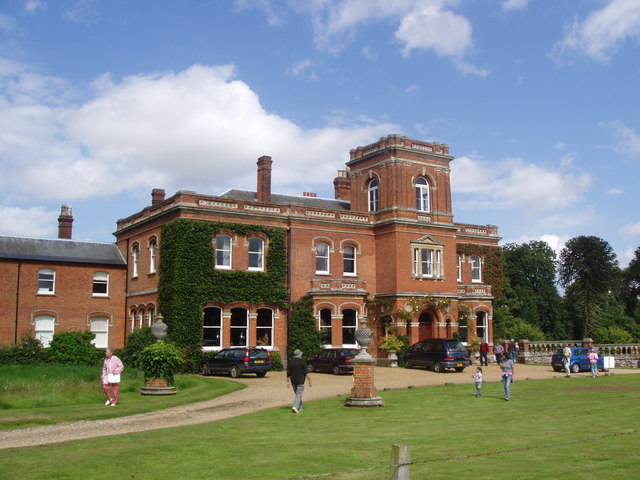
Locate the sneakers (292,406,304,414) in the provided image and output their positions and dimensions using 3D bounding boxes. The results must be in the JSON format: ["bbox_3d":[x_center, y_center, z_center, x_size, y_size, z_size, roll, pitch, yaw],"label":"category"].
[{"bbox_3d":[-0.817,6.130,26.463,0.201,0.235,0.570,1,-16,-9],"label":"sneakers"}]

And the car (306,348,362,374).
[{"bbox_3d":[0.992,7.018,42.612,1.640,1.650,3.615,4,-14,-26],"label":"car"}]

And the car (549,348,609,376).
[{"bbox_3d":[15.068,7.120,42.990,2.538,1.015,1.417,-1,-2,-16],"label":"car"}]

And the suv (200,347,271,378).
[{"bbox_3d":[-4.814,6.998,41.502,1.636,1.632,4.803,9,-16,-40],"label":"suv"}]

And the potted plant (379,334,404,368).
[{"bbox_3d":[4.574,7.163,48.605,2.014,2.064,1.595,4,-10,5],"label":"potted plant"}]

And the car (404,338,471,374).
[{"bbox_3d":[6.809,6.977,43.997,1.372,1.924,4.116,8,-16,-40],"label":"car"}]

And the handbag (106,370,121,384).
[{"bbox_3d":[-7.879,5.211,27.975,0.577,0.495,0.196,1,-1,-17],"label":"handbag"}]
